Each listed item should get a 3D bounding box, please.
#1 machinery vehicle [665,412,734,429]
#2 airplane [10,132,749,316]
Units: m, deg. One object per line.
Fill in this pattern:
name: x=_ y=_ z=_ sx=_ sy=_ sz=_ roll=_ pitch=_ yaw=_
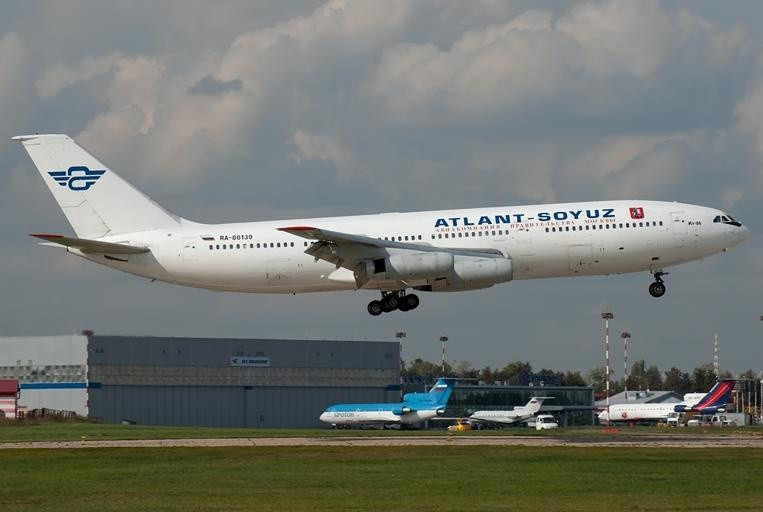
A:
machinery vehicle: x=30.989 y=16.422 z=166.749 sx=4.542 sy=0.948 sz=2.213 roll=-1 pitch=-2 yaw=2
airplane: x=0.390 y=-2.251 z=122.455 sx=49.468 sy=11.677 sz=44.744 roll=-2 pitch=2 yaw=-7
